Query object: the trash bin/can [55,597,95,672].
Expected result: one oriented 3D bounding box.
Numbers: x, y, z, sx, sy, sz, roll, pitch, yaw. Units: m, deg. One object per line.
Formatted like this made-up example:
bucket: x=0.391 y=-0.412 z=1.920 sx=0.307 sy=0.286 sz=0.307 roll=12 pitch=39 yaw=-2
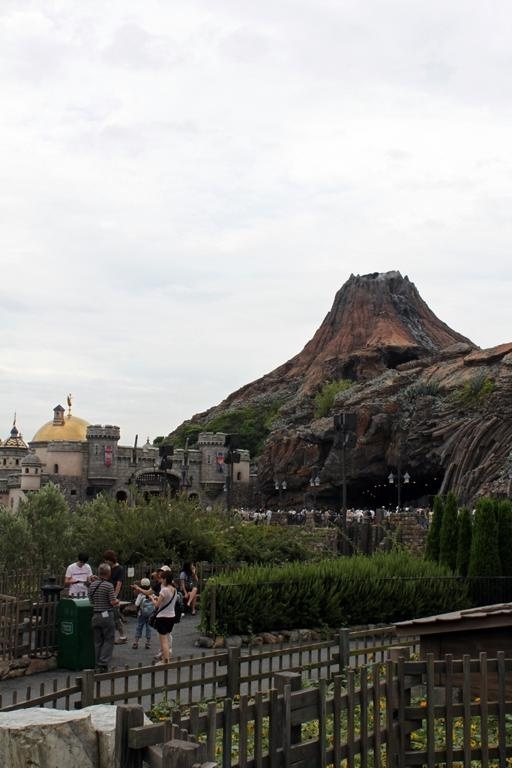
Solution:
trash bin/can: x=-2.339 y=3.254 z=12.999 sx=0.733 sy=0.937 sz=0.316 roll=-3 pitch=-5 yaw=33
